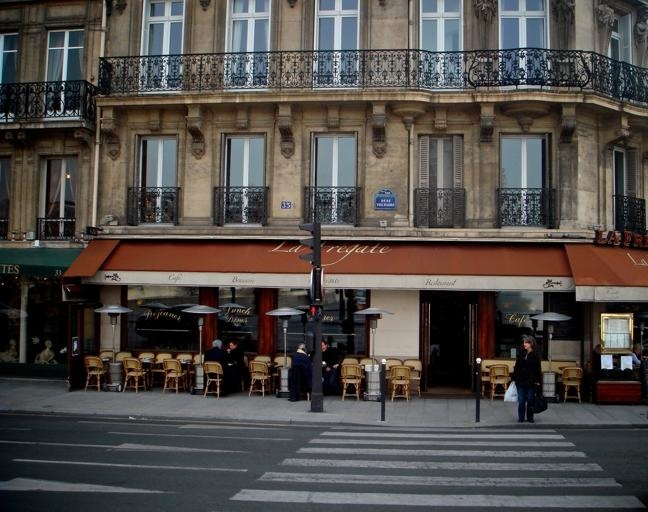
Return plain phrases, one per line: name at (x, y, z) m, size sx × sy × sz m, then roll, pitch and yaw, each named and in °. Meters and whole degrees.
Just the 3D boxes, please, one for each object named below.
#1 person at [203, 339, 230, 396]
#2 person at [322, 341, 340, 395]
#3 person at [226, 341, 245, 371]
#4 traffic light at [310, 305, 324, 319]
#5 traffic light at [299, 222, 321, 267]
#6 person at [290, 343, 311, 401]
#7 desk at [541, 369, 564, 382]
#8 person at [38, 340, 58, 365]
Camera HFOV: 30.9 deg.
person at (-3.165, 3.249, 34.201) m, size 0.710 × 1.451 × 0.570 m, roll 2°, pitch 8°, yaw 11°
person at (0.216, 3.352, 34.679) m, size 0.532 × 1.538 × 1.096 m, roll 1°, pitch 8°, yaw 1°
person at (-2.622, 2.947, 34.739) m, size 0.737 × 1.099 × 0.543 m, roll 2°, pitch -2°, yaw -5°
traffic light at (-0.246, 1.538, 31.951) m, size 0.377 × 0.380 × 0.359 m, roll 4°, pitch 10°, yaw 23°
traffic light at (-0.392, -0.347, 32.171) m, size 0.557 × 1.161 × 1.152 m, roll 0°, pitch 8°, yaw -4°
person at (-0.697, 3.396, 33.834) m, size 0.639 × 1.574 × 0.716 m, roll 0°, pitch 8°, yaw -6°
desk at (6.627, 3.589, 33.819) m, size 0.598 × 0.587 × 0.415 m, roll 1°, pitch -6°, yaw -1°
person at (-8.789, 3.103, 37.516) m, size 0.776 × 1.043 × 0.688 m, roll 1°, pitch -5°, yaw -10°
